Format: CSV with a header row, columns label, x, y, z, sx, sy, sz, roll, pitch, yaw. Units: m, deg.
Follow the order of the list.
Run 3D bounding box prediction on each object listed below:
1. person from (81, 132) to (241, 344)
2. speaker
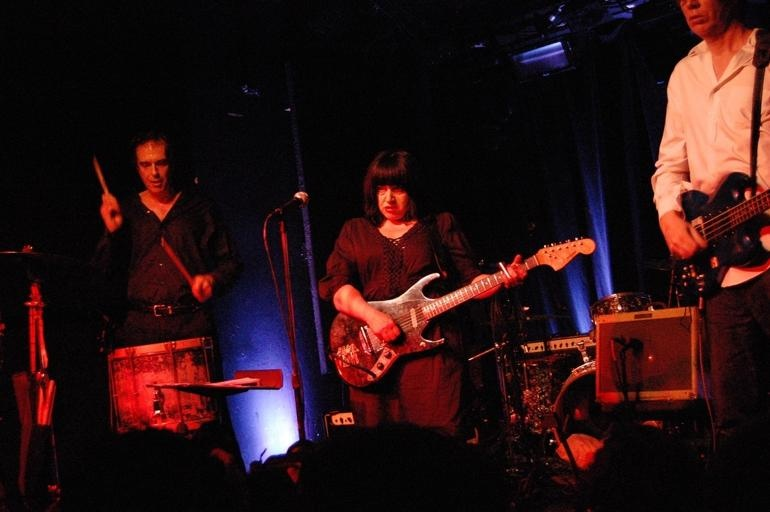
label,x,y,z,sx,sy,sz,roll,pitch,yaw
person,-1.670,-0.144,4.968,1.025,1.595,0.399,-4,-9,-8
speaker,1.998,0.768,4.914,0.276,0.643,0.767,23,-25,-40
